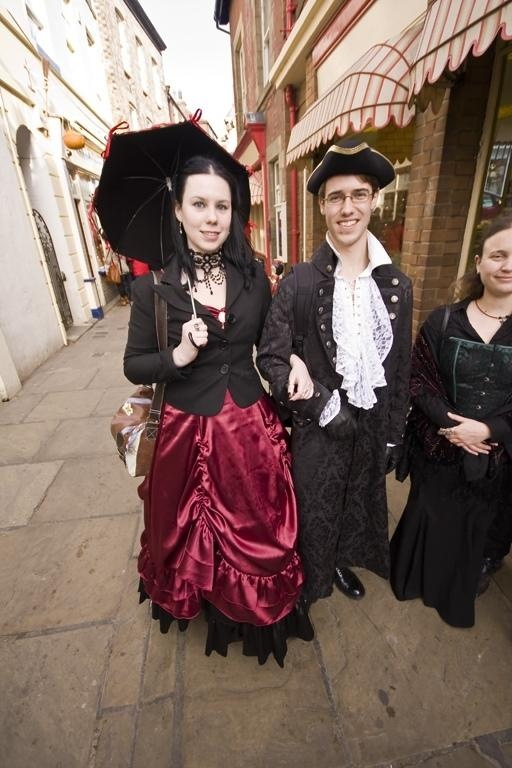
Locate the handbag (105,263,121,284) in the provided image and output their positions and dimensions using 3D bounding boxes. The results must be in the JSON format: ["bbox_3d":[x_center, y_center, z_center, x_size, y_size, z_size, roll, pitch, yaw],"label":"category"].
[{"bbox_3d":[-2.998,-2.357,9.939,0.211,0.441,0.200,-29,42,-27],"label":"handbag"}]

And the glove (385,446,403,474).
[{"bbox_3d":[0.578,0.316,2.047,0.087,0.106,0.115,0,-7,9],"label":"glove"}]

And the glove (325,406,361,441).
[{"bbox_3d":[0.332,0.146,1.827,0.093,0.127,0.068,-20,47,-38],"label":"glove"}]

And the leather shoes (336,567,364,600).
[{"bbox_3d":[0.467,0.987,2.400,0.068,0.077,0.187,-19,32,-18],"label":"leather shoes"}]

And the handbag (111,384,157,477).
[{"bbox_3d":[-0.497,0.171,2.032,0.200,0.383,0.270,6,17,-30],"label":"handbag"}]

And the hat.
[{"bbox_3d":[0.364,-0.815,1.778,0.432,0.172,0.444,-1,25,7],"label":"hat"}]

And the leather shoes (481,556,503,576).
[{"bbox_3d":[1.112,0.840,2.232,0.086,0.108,0.114,-5,-12,28],"label":"leather shoes"}]

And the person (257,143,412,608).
[{"bbox_3d":[0.361,0.108,2.005,0.647,2.008,0.424,-14,25,-12],"label":"person"}]

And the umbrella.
[{"bbox_3d":[-0.287,-0.688,1.860,0.566,0.578,0.242,29,7,-12],"label":"umbrella"}]

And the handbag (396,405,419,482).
[{"bbox_3d":[0.750,0.341,2.284,0.087,0.511,0.103,9,38,24],"label":"handbag"}]

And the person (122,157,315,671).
[{"bbox_3d":[-0.138,0.162,1.950,0.843,1.921,0.641,2,10,9],"label":"person"}]
